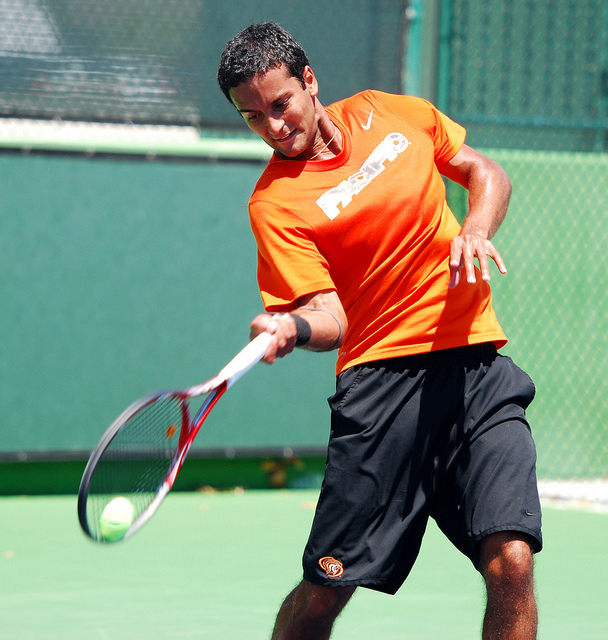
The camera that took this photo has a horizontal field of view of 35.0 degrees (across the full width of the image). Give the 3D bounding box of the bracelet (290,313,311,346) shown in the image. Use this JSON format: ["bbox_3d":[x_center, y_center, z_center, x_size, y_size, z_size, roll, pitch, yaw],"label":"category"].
[{"bbox_3d":[-0.003,0.025,2.638,0.063,0.073,0.064,-15,-9,25],"label":"bracelet"}]

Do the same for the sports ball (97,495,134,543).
[{"bbox_3d":[-0.490,0.504,2.511,0.080,0.108,0.079,1,6,0],"label":"sports ball"}]

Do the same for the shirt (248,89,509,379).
[{"bbox_3d":[0.231,-0.273,2.992,0.824,0.836,0.421,-29,9,-26],"label":"shirt"}]

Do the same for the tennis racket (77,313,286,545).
[{"bbox_3d":[-0.317,0.164,2.498,0.065,0.932,0.324,32,9,36],"label":"tennis racket"}]
